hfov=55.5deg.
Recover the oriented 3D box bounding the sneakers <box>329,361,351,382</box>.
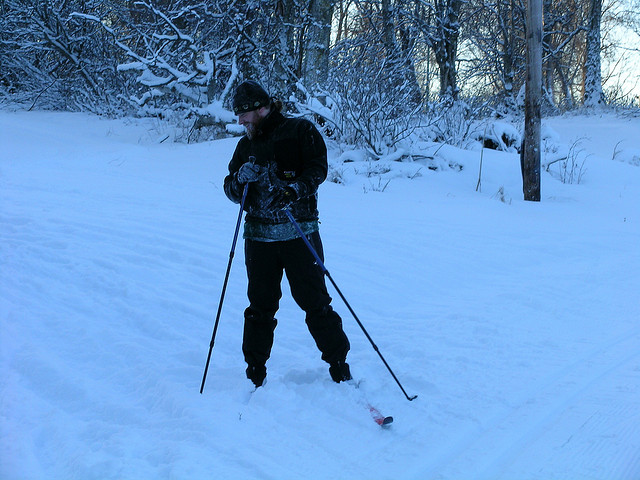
[{"bbox_3d":[0.246,1.436,6.739,0.226,0.267,0.177,-13,1,20],"label":"sneakers"}]

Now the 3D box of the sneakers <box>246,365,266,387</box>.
[{"bbox_3d":[-0.664,1.480,6.658,0.170,0.259,0.234,-4,-12,13],"label":"sneakers"}]

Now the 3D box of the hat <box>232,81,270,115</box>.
[{"bbox_3d":[-0.738,-1.459,6.424,0.318,0.286,0.359,-14,32,26],"label":"hat"}]
